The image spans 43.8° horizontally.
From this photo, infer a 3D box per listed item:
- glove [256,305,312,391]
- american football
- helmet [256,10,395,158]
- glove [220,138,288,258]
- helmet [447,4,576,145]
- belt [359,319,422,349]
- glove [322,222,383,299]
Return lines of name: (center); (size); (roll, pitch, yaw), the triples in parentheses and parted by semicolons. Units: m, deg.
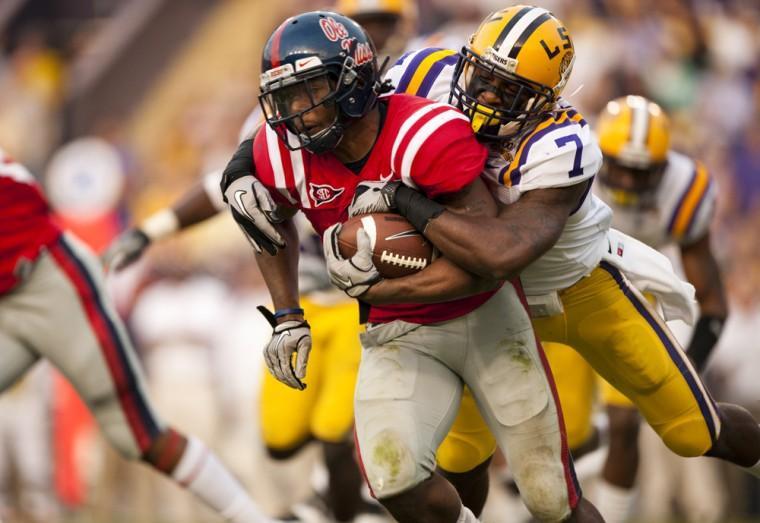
glove: (-0.393, 0.362, 3.940); (0.207, 0.322, 0.226); (-3, 17, -6)
american football: (0.032, -0.079, 3.700); (0.333, 0.213, 0.215); (20, -15, -15)
helmet: (-0.241, -0.716, 3.843); (0.448, 0.536, 0.555); (-11, 11, 44)
glove: (-0.532, -0.239, 3.936); (0.186, 0.151, 0.520); (-17, 60, -7)
helmet: (0.519, -0.771, 3.991); (0.435, 0.434, 0.566); (36, 61, 12)
belt: (0.027, 0.292, 3.861); (0.171, 0.066, 0.126); (-19, 1, -7)
glove: (-0.111, 0.010, 3.695); (0.122, 0.279, 0.210); (-21, -3, 22)
